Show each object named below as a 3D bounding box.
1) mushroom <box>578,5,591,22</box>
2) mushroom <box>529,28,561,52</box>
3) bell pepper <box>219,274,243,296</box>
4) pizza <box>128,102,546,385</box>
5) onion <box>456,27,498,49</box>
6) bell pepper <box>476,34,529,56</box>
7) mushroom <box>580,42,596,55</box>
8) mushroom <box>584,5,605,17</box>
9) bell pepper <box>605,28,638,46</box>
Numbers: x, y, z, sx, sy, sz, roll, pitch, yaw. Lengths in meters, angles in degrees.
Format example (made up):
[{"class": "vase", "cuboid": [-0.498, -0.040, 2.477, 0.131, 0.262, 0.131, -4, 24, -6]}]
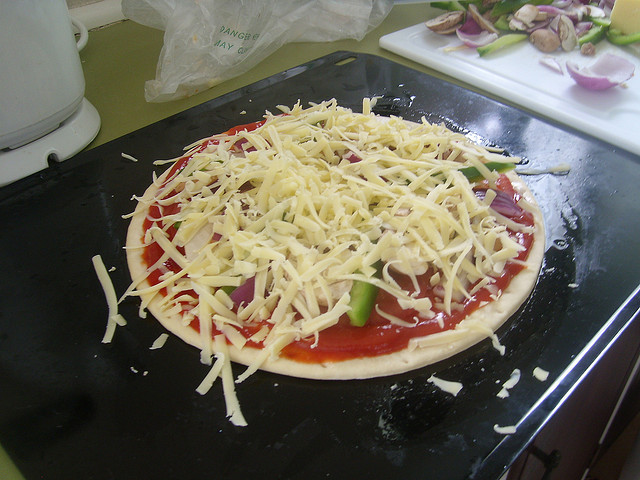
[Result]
[{"class": "mushroom", "cuboid": [0.832, -0.719, 1.732, 0.019, 0.056, 0.057, 14, 85, 49]}, {"class": "mushroom", "cuboid": [0.663, -0.594, 1.619, 0.052, 0.049, 0.088, -40, 46, -11]}, {"class": "bell pepper", "cuboid": [-0.147, 0.078, 0.918, 0.036, 0.013, 0.025, -30, 36, -12]}, {"class": "pizza", "cuboid": [0.006, -0.035, 0.980, 0.776, 0.175, 0.602, 11, 60, 11]}, {"class": "onion", "cuboid": [0.475, -0.611, 1.652, 0.106, 0.039, 0.081, -15, 45, 0]}, {"class": "bell pepper", "cuboid": [0.537, -0.579, 1.621, 0.133, 0.040, 0.023, -29, 60, -19]}, {"class": "mushroom", "cuboid": [0.787, -0.566, 1.612, 0.036, 0.012, 0.038, -3, 63, 6]}, {"class": "mushroom", "cuboid": [0.882, -0.731, 1.741, 0.048, 0.013, 0.049, 3, 43, -1]}, {"class": "bell pepper", "cuboid": [0.924, -0.634, 1.666, 0.057, 0.017, 0.061, 31, 51, 33]}]
